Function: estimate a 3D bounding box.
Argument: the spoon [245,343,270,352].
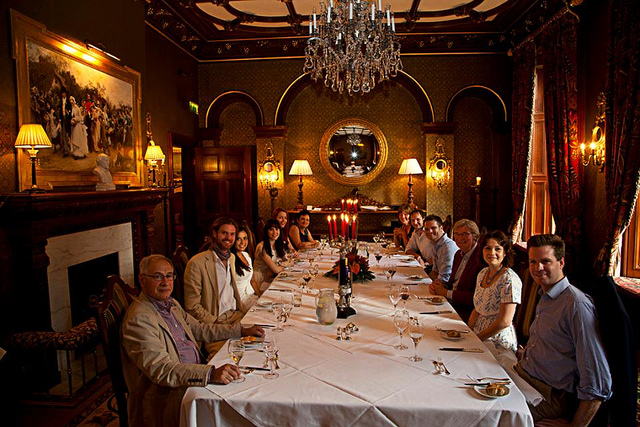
[{"bbox_3d":[-0.477,1.022,3.175,0.209,0.027,0.054,2,14,3],"label":"spoon"}]

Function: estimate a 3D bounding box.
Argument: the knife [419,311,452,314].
[{"bbox_3d":[1.053,0.886,3.734,0.322,0.016,0.060,-2,6,-3],"label":"knife"}]

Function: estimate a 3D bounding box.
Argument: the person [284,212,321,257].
[{"bbox_3d":[-0.255,0.367,6.860,0.605,0.787,0.487,-11,-12,28],"label":"person"}]

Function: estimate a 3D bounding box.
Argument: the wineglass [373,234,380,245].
[{"bbox_3d":[0.867,0.414,6.359,0.051,0.162,0.138,-20,5,26],"label":"wineglass"}]

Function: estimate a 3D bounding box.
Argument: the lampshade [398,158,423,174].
[{"bbox_3d":[1.840,-0.908,8.430,0.327,0.241,0.344,0,0,-9],"label":"lampshade"}]

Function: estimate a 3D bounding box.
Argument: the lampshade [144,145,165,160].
[{"bbox_3d":[-2.617,-0.922,6.567,0.219,0.230,0.233,0,6,3],"label":"lampshade"}]

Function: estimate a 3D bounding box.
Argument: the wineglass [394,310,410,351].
[{"bbox_3d":[0.674,0.902,3.409,0.117,0.255,0.531,2,3,12],"label":"wineglass"}]

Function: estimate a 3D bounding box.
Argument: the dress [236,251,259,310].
[{"bbox_3d":[-0.846,0.754,4.827,0.245,0.596,0.589,1,3,-9],"label":"dress"}]

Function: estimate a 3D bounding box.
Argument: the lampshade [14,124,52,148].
[{"bbox_3d":[-3.156,-0.814,4.575,0.261,0.258,0.276,0,2,19],"label":"lampshade"}]

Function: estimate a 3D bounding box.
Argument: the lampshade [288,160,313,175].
[{"bbox_3d":[-0.413,-0.910,8.688,0.314,0.286,0.330,0,3,-11],"label":"lampshade"}]

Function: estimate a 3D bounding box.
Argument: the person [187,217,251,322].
[{"bbox_3d":[-1.013,0.659,4.337,0.783,1.198,0.702,1,-3,-35],"label":"person"}]

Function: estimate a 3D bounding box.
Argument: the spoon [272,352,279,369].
[{"bbox_3d":[-0.324,1.057,3.025,0.041,0.091,0.130,1,3,-11],"label":"spoon"}]

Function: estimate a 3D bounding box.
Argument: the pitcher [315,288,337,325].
[{"bbox_3d":[0.059,0.798,3.592,0.185,0.283,0.178,1,3,-1],"label":"pitcher"}]

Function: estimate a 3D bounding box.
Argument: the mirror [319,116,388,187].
[{"bbox_3d":[0.788,-1.364,9.011,1.326,1.491,0.099,1,1,-1],"label":"mirror"}]

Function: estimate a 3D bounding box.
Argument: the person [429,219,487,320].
[{"bbox_3d":[1.537,0.618,4.651,0.676,1.108,0.639,6,8,35],"label":"person"}]

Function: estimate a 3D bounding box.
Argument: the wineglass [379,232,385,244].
[{"bbox_3d":[0.933,0.369,6.247,0.069,0.153,0.061,-1,4,-29],"label":"wineglass"}]

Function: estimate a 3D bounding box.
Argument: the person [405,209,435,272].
[{"bbox_3d":[1.549,0.463,6.145,0.469,0.809,0.540,6,22,-7],"label":"person"}]

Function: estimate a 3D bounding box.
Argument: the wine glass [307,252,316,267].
[{"bbox_3d":[-0.109,0.559,5.145,0.119,0.212,0.133,-1,-2,-16],"label":"wine glass"}]

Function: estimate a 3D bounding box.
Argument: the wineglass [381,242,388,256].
[{"bbox_3d":[0.954,0.525,6.130,0.130,0.175,0.144,-1,-6,2],"label":"wineglass"}]
